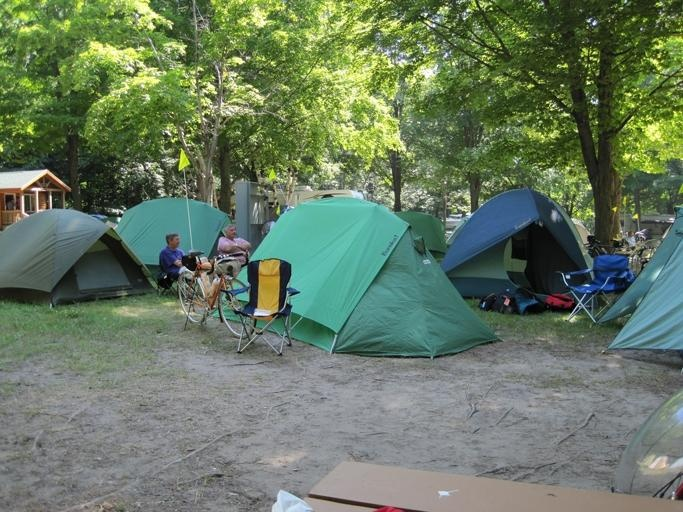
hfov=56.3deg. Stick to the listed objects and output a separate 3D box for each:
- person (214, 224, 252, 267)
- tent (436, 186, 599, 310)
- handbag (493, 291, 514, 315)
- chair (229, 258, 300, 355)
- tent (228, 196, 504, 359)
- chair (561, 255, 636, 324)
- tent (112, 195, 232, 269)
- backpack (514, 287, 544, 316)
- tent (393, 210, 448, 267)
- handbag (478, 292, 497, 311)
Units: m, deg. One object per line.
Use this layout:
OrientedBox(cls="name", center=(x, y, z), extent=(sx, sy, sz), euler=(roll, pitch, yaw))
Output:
OrientedBox(cls="person", center=(-2.176, -0.224, 12.904), extent=(0.598, 0.744, 0.792), euler=(-8, 16, -40))
OrientedBox(cls="tent", center=(3.616, -0.135, 13.284), extent=(2.832, 1.530, 2.669), euler=(1, 9, 17))
OrientedBox(cls="handbag", center=(3.219, 0.915, 12.504), extent=(0.302, 0.140, 0.411), euler=(5, 21, 39))
OrientedBox(cls="chair", center=(-1.146, 0.722, 9.390), extent=(1.051, 1.193, 0.788), euler=(2, 6, 1))
OrientedBox(cls="tent", center=(0.236, 0.201, 10.178), extent=(3.202, 1.504, 2.423), euler=(7, 10, 42))
OrientedBox(cls="chair", center=(4.848, 0.511, 11.374), extent=(1.038, 0.889, 0.864), euler=(14, 32, 25))
OrientedBox(cls="tent", center=(-4.145, -0.447, 15.104), extent=(2.100, 0.798, 2.014), euler=(4, 11, 20))
OrientedBox(cls="backpack", center=(3.702, 0.902, 12.538), extent=(0.607, 0.323, 0.897), euler=(3, 13, 15))
OrientedBox(cls="tent", center=(2.397, -0.512, 19.456), extent=(1.732, 0.799, 1.683), euler=(9, 10, 22))
OrientedBox(cls="handbag", center=(2.907, 0.879, 12.726), extent=(0.380, 0.358, 0.249), euler=(-22, 34, -24))
